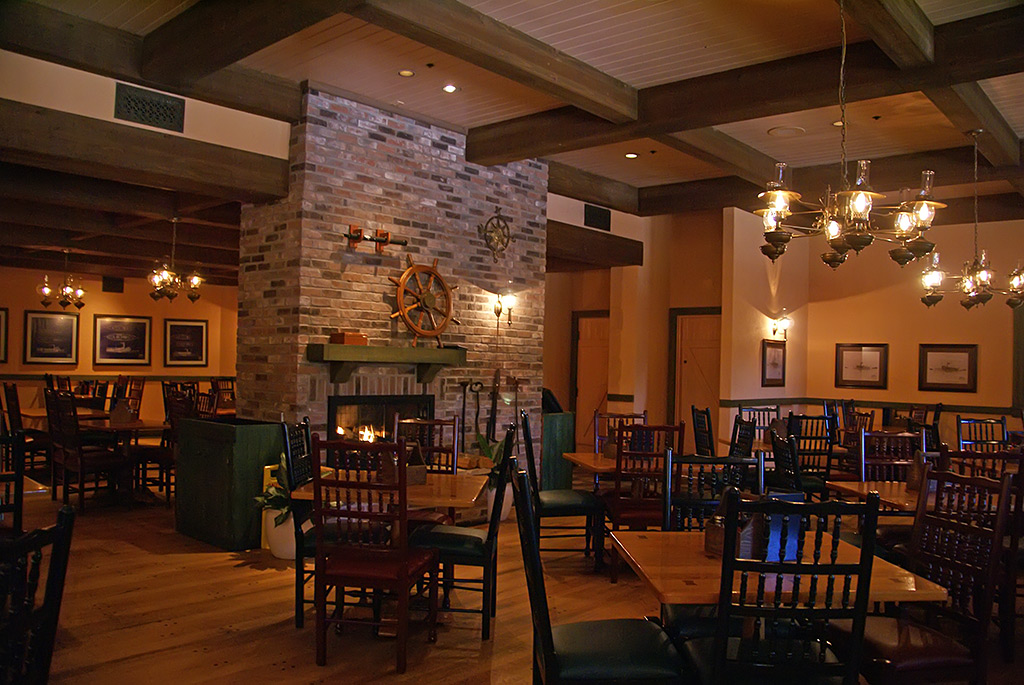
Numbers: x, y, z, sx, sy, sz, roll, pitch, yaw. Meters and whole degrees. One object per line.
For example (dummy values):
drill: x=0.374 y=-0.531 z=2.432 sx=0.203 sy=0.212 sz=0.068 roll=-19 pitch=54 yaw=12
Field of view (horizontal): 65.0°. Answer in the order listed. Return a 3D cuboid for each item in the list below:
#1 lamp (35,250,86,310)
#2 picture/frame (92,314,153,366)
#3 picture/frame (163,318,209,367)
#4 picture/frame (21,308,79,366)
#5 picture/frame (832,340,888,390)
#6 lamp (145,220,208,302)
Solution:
lamp: x=-7.465 y=-1.097 z=13.449 sx=0.693 sy=0.953 sz=0.726 roll=4 pitch=-5 yaw=-26
picture/frame: x=-7.477 y=-0.081 z=15.302 sx=1.129 sy=0.979 sz=0.075 roll=1 pitch=-2 yaw=-43
picture/frame: x=-6.594 y=-0.030 z=16.129 sx=1.121 sy=1.193 sz=0.070 roll=0 pitch=-1 yaw=-44
picture/frame: x=-8.380 y=-0.127 z=14.491 sx=1.202 sy=1.234 sz=0.094 roll=0 pitch=-2 yaw=-43
picture/frame: x=5.281 y=0.326 z=12.116 sx=0.835 sy=0.743 sz=0.058 roll=1 pitch=-2 yaw=40
lamp: x=-4.920 y=-1.193 z=11.526 sx=0.636 sy=0.945 sz=0.726 roll=7 pitch=2 yaw=37
